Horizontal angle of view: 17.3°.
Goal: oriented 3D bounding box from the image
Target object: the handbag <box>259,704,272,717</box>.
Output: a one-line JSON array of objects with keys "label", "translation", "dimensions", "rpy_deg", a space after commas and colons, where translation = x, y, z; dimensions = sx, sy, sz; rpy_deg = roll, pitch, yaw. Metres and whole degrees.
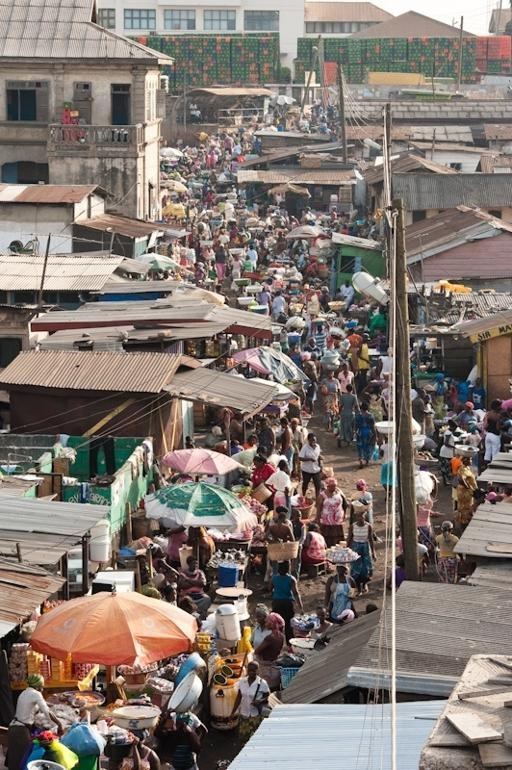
[{"label": "handbag", "translation": [0.080, 2.589, 13.444], "dimensions": [0.080, 0.110, 0.263], "rpy_deg": [0, -13, -6]}]

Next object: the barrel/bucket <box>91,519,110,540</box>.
[{"label": "barrel/bucket", "translation": [-1.512, 1.386, 16.309], "dimensions": [0.160, 0.210, 0.202], "rpy_deg": [2, 0, -4]}]

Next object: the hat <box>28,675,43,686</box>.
[{"label": "hat", "translation": [-1.741, 2.308, 13.255], "dimensions": [0.102, 0.110, 0.091], "rpy_deg": [2, -1, -28]}]

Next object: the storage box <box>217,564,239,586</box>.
[{"label": "storage box", "translation": [-0.281, 1.865, 16.650], "dimensions": [0.192, 0.215, 0.192], "rpy_deg": [1, 6, 0]}]

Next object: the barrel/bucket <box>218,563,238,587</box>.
[{"label": "barrel/bucket", "translation": [-0.273, 1.864, 16.652], "dimensions": [0.192, 0.227, 0.180], "rpy_deg": [1, 5, 0]}]

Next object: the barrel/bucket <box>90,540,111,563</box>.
[{"label": "barrel/bucket", "translation": [-1.541, 1.606, 16.489], "dimensions": [0.186, 0.219, 0.199], "rpy_deg": [0, 2, 0]}]

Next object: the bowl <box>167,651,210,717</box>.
[{"label": "bowl", "translation": [-0.509, 2.429, 13.645], "dimensions": [0.159, 0.454, 0.292], "rpy_deg": [21, -2, -16]}]

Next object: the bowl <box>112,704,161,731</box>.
[{"label": "bowl", "translation": [-0.975, 2.698, 13.679], "dimensions": [0.362, 0.147, 0.417], "rpy_deg": [1, 2, 23]}]
